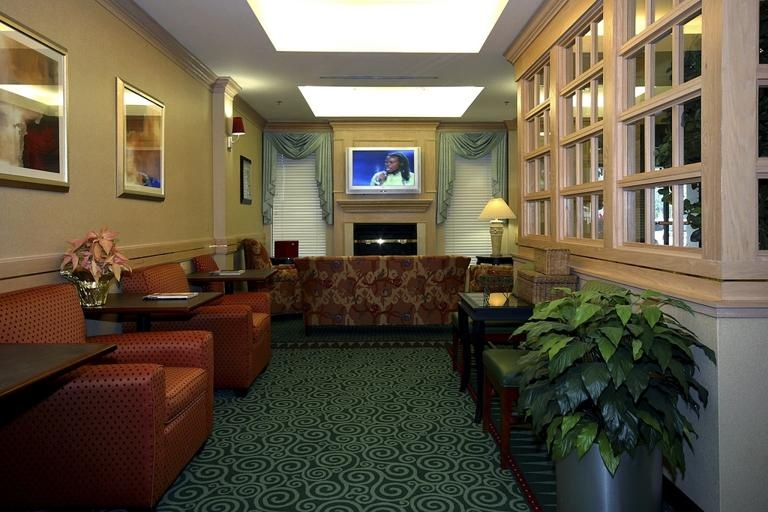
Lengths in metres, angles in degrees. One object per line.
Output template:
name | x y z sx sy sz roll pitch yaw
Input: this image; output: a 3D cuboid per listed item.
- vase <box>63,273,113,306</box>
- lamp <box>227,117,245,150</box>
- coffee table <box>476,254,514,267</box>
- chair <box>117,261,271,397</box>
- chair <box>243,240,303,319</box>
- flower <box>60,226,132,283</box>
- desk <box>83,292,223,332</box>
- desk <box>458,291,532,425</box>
vase | -2.295 0.238 3.733 0.279 0.158 0.283 -2 -4 34
lamp | -2.241 -1.843 7.210 0.232 0.507 0.680 -2 7 -18
coffee table | 1.924 0.052 8.444 0.569 0.150 0.467 3 8 23
chair | -1.736 0.623 4.839 1.187 1.256 1.144 -1 2 -2
chair | -1.919 0.357 7.876 1.193 1.569 1.240 -1 2 -6
flower | -2.222 -0.010 3.708 0.425 0.278 0.440 0 2 33
desk | -1.827 0.397 3.715 0.524 0.395 0.541 1 1 -5
desk | 0.895 0.916 4.196 0.465 0.582 0.822 18 -12 21
